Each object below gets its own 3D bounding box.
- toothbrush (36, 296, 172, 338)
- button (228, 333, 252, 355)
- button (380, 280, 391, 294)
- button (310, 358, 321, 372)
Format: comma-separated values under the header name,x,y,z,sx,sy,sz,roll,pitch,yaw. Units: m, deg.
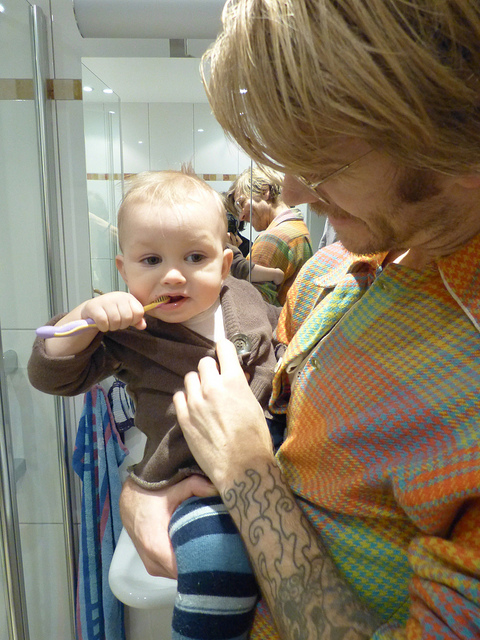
name,x,y,z,sx,sy,sz,roll,pitch,yaw
toothbrush,-0.246,-0.006,0.979,0.035,0.028,0.307,-10,10,40
button,0.007,0.046,1.037,0.041,0.037,0.010,-15,-5,-17
button,0.201,-0.046,0.733,0.005,0.017,0.009,19,-45,-26
button,0.114,0.067,0.796,0.004,0.017,0.011,24,-50,-30
